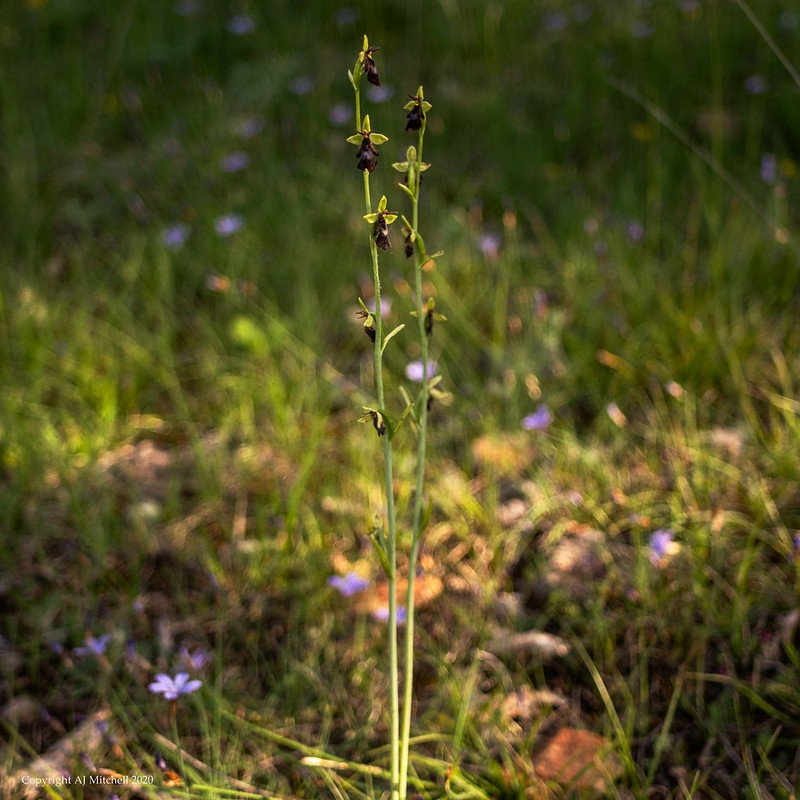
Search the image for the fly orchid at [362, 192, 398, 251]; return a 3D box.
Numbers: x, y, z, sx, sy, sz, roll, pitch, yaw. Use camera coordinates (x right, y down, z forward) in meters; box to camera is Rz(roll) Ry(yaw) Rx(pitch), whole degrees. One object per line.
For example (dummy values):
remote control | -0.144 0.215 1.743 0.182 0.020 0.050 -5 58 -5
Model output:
fly orchid | -0.032 -0.293 1.567 0.045 0.088 0.025 -10 30 -22
